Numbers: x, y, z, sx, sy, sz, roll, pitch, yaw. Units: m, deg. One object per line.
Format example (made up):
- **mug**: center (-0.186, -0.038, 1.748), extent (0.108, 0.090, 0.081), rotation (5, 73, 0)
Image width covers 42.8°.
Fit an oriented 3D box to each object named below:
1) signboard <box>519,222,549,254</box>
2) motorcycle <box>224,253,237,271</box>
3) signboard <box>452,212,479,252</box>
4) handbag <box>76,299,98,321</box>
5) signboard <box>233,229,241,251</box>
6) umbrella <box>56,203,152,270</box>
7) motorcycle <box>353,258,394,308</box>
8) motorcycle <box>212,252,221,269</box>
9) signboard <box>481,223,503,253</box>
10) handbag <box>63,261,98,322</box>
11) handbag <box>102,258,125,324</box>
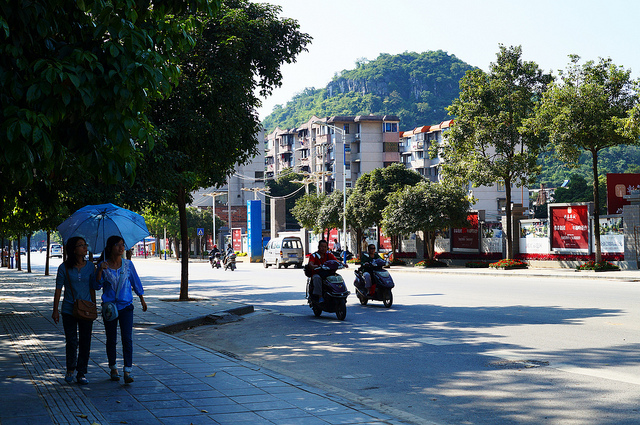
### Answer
- **signboard**: center (11.000, 1.217, 42.870), extent (1.866, 1.773, 1.024), rotation (-2, 3, -19)
- **motorcycle**: center (-5.463, 3.028, 49.675), extent (0.659, 1.065, 1.674), rotation (-2, -5, -8)
- **signboard**: center (8.382, 1.094, 46.610), extent (0.385, 3.067, 2.245), rotation (0, 0, -41)
- **handbag**: center (-4.239, 1.753, 14.772), extent (0.302, 0.271, 0.133), rotation (18, -27, -29)
- **signboard**: center (-7.754, 2.601, 76.785), extent (0.205, 2.775, 1.952), rotation (-1, 1, -31)
- **umbrella**: center (-4.320, 0.240, 16.447), extent (1.424, 0.919, 1.411), rotation (-10, -33, 6)
- **motorcycle**: center (1.581, 2.025, 24.215), extent (0.593, 1.391, 2.044), rotation (0, -3, -26)
- **motorcycle**: center (-6.810, 3.129, 53.573), extent (0.474, 1.034, 1.298), rotation (-2, -5, -8)
- **signboard**: center (9.549, 1.440, 45.451), extent (0.170, 1.669, 1.956), rotation (-1, -5, -22)
- **handbag**: center (-4.353, 1.439, 14.826), extent (0.536, 1.091, 0.239), rotation (-2, -4, -15)
- **handbag**: center (-3.752, 1.523, 14.822), extent (0.270, 0.923, 0.275), rotation (1, -2, -11)
